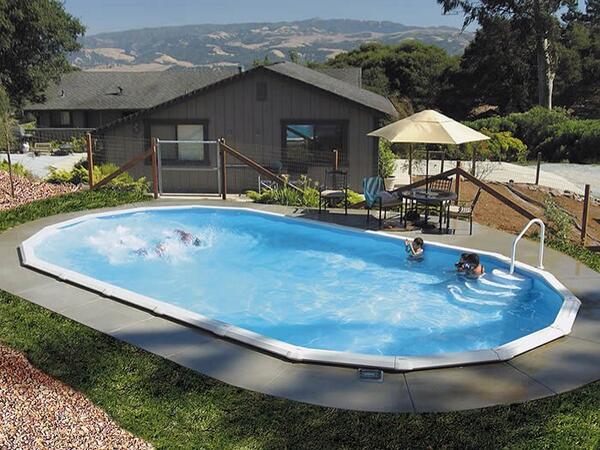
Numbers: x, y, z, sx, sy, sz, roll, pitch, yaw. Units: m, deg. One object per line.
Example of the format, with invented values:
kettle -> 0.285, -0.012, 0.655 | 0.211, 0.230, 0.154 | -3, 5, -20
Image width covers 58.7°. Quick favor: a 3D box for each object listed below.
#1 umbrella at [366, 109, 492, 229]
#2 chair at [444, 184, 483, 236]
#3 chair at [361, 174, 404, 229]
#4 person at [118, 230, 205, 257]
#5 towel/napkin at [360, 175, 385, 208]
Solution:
umbrella -> 3.371, -1.682, 15.114 | 2.742, 1.912, 2.627 | -9, 19, -26
chair -> 4.615, -0.396, 15.282 | 1.006, 1.358, 0.961 | 11, 16, 32
chair -> 2.476, -0.714, 15.895 | 1.088, 1.320, 0.960 | -3, 11, -17
person -> -3.724, 0.521, 15.181 | 1.255, 0.444, 2.165 | 9, 11, 43
towel/napkin -> 2.142, -1.018, 16.015 | 0.686, 0.920, 0.383 | 3, 1, -5
